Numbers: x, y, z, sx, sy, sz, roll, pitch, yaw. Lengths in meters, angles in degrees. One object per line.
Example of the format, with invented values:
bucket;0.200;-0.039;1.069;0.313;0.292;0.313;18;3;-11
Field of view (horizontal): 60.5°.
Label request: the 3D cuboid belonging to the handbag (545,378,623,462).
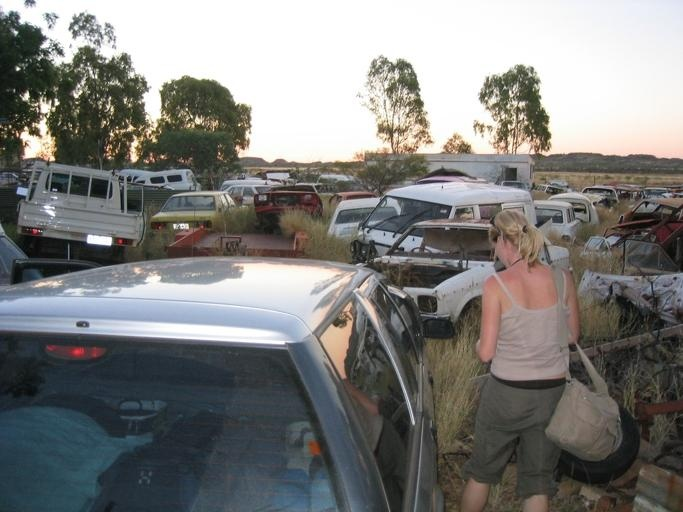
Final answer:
handbag;1.542;1.066;3.724;0.559;0.550;0.194;-5;13;-25
